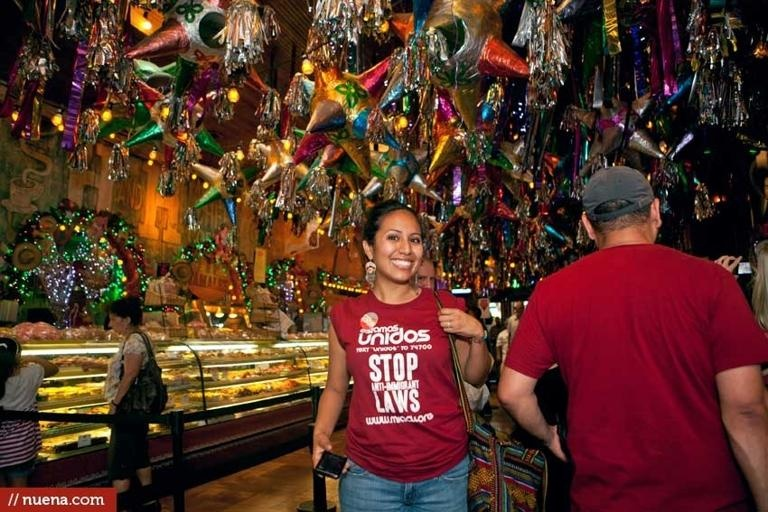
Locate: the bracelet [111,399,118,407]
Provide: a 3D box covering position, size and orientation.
[{"bbox_3d":[-2.522,1.368,5.019,0.059,0.058,0.017,0,-3,17],"label":"bracelet"}]

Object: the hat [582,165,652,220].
[{"bbox_3d":[1.153,-0.315,2.690,0.238,0.189,0.336,-14,20,29],"label":"hat"}]

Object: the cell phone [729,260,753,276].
[{"bbox_3d":[2.900,0.090,4.371,0.150,0.154,0.095,4,-3,18],"label":"cell phone"}]

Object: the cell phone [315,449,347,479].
[{"bbox_3d":[-0.281,1.091,2.811,0.156,0.134,0.127,-3,-6,10],"label":"cell phone"}]
